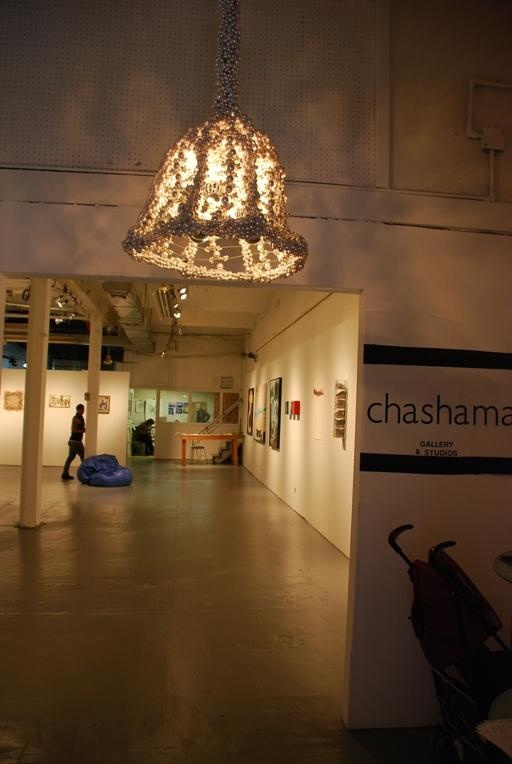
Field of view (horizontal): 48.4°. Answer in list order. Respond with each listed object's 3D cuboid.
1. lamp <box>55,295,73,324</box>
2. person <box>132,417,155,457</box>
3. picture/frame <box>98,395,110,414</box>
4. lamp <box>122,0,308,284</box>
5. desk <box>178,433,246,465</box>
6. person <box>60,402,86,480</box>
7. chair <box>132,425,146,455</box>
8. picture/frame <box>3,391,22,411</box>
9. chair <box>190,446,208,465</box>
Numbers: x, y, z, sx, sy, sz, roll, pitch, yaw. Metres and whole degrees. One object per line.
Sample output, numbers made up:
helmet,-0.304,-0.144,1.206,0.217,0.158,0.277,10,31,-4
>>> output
lamp,-4.506,-1.707,13.230,0.404,0.462,0.323,0,1,-3
person,-4.083,1.973,20.410,1.163,1.796,0.793,-1,-1,-9
picture/frame,-4.148,0.569,15.427,0.460,0.596,0.056,-1,-12,-8
lamp,-0.111,-0.879,2.192,0.605,1.029,1.133,4,-5,-1
desk,-1.390,2.021,17.898,1.828,1.033,2.413,4,-5,-2
person,-4.139,1.292,12.912,0.467,1.675,2.384,5,-5,-18
chair,-4.284,2.002,20.452,0.530,1.053,0.270,2,-5,21
picture/frame,-6.560,0.465,15.254,0.440,0.504,0.053,0,-5,-11
chair,-1.880,2.283,18.772,0.479,0.894,0.558,1,-13,-9
